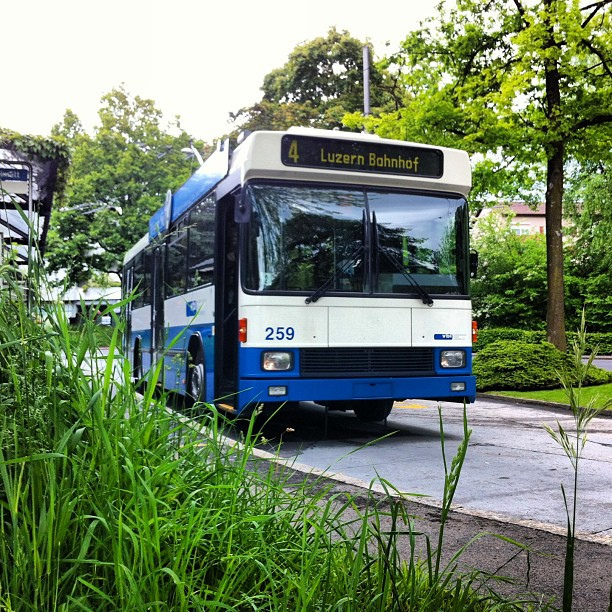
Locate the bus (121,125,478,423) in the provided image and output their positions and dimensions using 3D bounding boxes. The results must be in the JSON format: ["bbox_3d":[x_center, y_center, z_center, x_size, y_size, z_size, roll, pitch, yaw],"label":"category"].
[{"bbox_3d":[-0.399,-0.352,9.207,3.099,3.354,4.615,0,-1,-32],"label":"bus"}]

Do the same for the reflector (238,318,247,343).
[{"bbox_3d":[-0.705,0.271,7.330,0.100,0.234,0.052,0,0,8],"label":"reflector"}]
